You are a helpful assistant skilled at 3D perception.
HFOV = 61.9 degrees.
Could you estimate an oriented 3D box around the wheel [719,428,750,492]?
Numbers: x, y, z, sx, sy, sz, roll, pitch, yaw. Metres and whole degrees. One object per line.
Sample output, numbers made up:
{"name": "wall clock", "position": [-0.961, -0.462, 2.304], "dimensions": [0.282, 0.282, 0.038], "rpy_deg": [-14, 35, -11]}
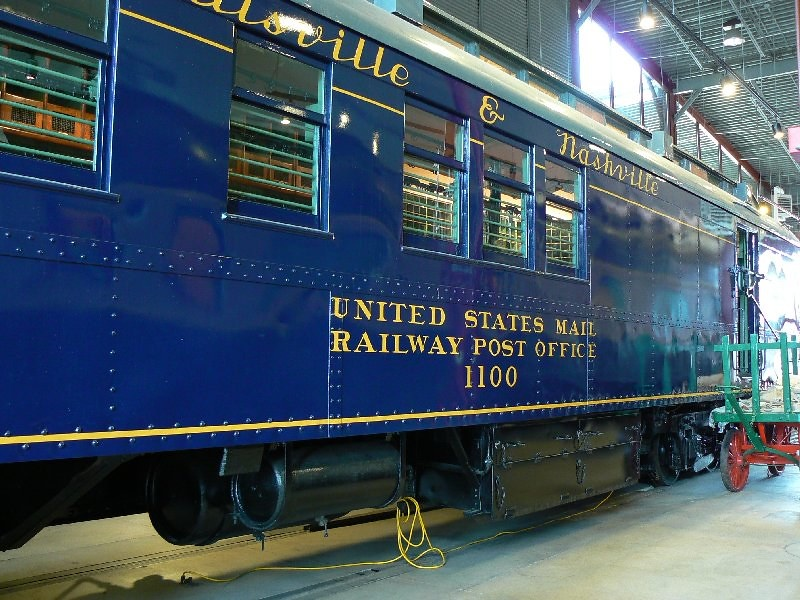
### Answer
{"name": "wheel", "position": [4.922, 2.347, 9.779], "dimensions": [0.266, 0.991, 0.883], "rpy_deg": [1, 4, 28]}

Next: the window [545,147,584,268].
{"name": "window", "position": [1.674, -0.930, 6.834], "dimensions": [0.085, 1.259, 1.065], "rpy_deg": [-3, -10, 26]}

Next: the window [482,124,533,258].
{"name": "window", "position": [0.979, -0.999, 6.189], "dimensions": [0.105, 1.363, 1.119], "rpy_deg": [-2, -7, 34]}
